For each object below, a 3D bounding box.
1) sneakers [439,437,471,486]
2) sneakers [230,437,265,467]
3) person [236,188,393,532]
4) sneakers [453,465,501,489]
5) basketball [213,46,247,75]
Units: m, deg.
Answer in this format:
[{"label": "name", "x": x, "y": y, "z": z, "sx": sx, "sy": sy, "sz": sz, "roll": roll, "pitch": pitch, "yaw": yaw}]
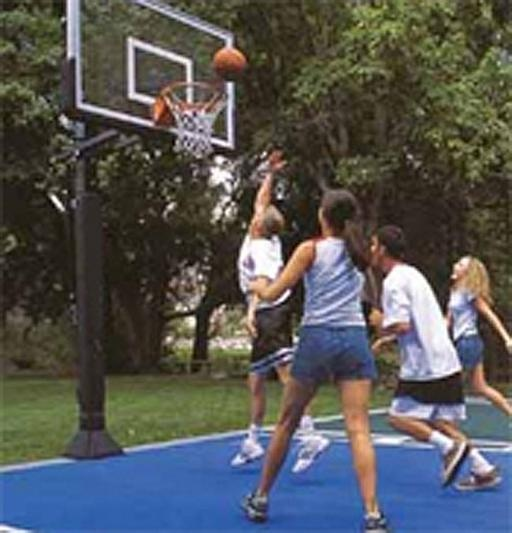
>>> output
[{"label": "sneakers", "x": 1.124, "y": 1.100, "z": 5.087, "sx": 0.111, "sy": 0.294, "sz": 0.106, "roll": 24, "pitch": -10, "yaw": 29}, {"label": "sneakers", "x": -0.070, "y": 1.343, "z": 6.225, "sx": 0.267, "sy": 0.140, "sz": 0.203, "roll": -29, "pitch": 10, "yaw": 3}, {"label": "person", "x": 0.325, "y": 0.479, "z": 4.641, "sx": 0.712, "sy": 1.787, "sz": 0.418, "roll": -1, "pitch": -2, "yaw": 10}, {"label": "sneakers", "x": 1.380, "y": 1.339, "z": 5.599, "sx": 0.321, "sy": 0.146, "sz": 0.127, "roll": -22, "pitch": -11, "yaw": 41}, {"label": "basketball", "x": -0.212, "y": -1.779, "z": 7.693, "sx": 0.240, "sy": 0.139, "sz": 0.247, "roll": 15, "pitch": 15, "yaw": 41}]
